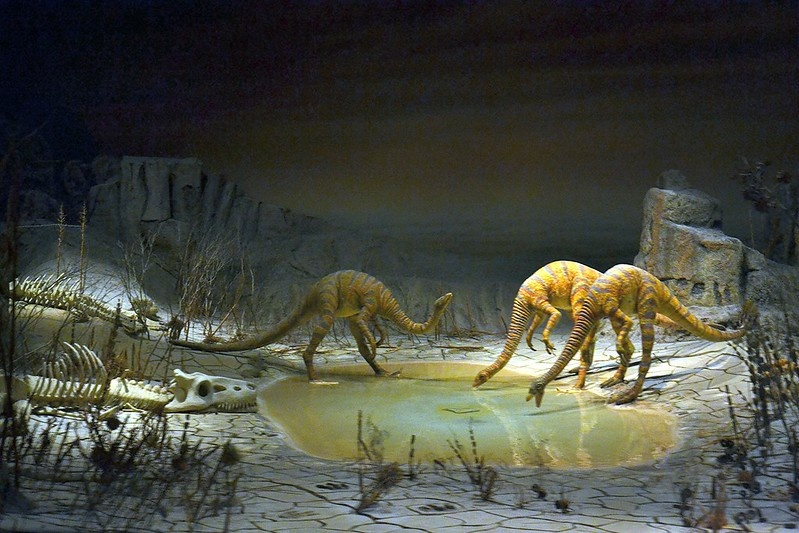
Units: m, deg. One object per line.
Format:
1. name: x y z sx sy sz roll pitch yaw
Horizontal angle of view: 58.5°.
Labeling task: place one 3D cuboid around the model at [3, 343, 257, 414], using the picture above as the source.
1. model: -2.315 1.108 6.454 1.653 0.411 0.824 2 0 -12

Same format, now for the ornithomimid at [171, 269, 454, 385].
1. ornithomimid: -0.979 0.676 8.522 3.364 1.229 0.697 2 2 15

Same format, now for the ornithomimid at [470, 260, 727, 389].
1. ornithomimid: 2.202 0.651 8.279 3.127 1.275 0.593 -4 -4 -21

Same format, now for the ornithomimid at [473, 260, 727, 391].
1. ornithomimid: 2.201 0.617 8.269 3.145 1.310 0.569 -5 -2 -21

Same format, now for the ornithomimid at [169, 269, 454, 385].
1. ornithomimid: -1.048 0.650 8.467 3.245 1.206 0.671 2 3 6

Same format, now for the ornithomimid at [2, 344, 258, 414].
1. ornithomimid: -2.302 1.119 6.428 1.638 0.393 0.837 2 0 -12

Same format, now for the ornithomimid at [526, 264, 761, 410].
1. ornithomimid: 2.680 0.658 7.774 3.291 1.360 0.644 -9 7 -24

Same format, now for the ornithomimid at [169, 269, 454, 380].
1. ornithomimid: -1.077 0.660 8.459 3.374 1.278 0.859 2 -1 13

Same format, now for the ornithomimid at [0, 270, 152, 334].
1. ornithomimid: -3.536 0.410 7.803 1.288 0.301 0.326 20 10 -13

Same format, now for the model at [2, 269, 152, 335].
1. model: -3.545 0.412 7.840 1.259 0.328 0.314 21 11 -13

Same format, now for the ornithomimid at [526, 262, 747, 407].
1. ornithomimid: 2.673 0.652 7.786 3.256 1.370 0.696 -9 7 -26
